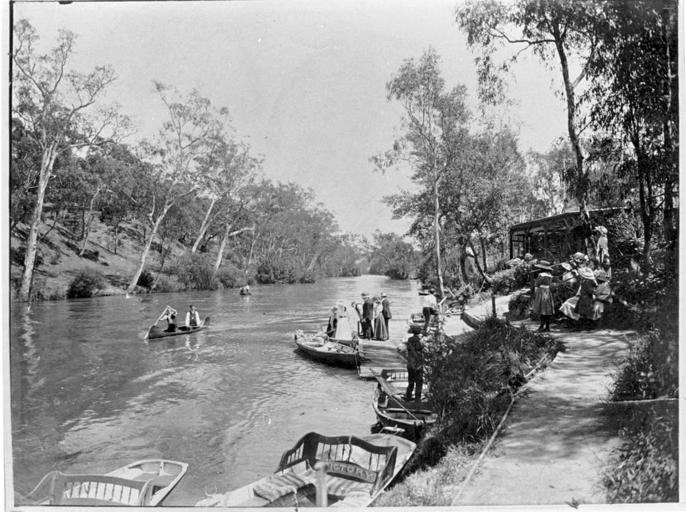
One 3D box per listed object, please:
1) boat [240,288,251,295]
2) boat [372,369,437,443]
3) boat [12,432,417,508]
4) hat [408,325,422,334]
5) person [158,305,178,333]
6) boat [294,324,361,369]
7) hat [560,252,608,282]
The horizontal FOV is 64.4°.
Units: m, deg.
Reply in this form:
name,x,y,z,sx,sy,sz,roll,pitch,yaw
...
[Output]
name,x,y,z,sx,sy,sz,roll,pitch,yaw
boat,-10.130,3.623,56.424,1.034,0.937,1.574,-3,6,-12
boat,1.468,4.459,16.470,2.974,0.832,1.177,23,34,17
boat,-3.247,5.812,14.571,6.750,1.937,1.931,0,0,2
hat,2.195,2.220,16.466,0.331,0.289,0.427,3,-2,4
person,-11.022,3.978,34.055,0.865,0.527,1.998,-15,-34,-25
boat,-0.841,4.267,25.084,1.198,1.256,4.462,1,4,-34
hat,8.457,0.471,18.995,1.052,0.542,1.176,-7,26,27
